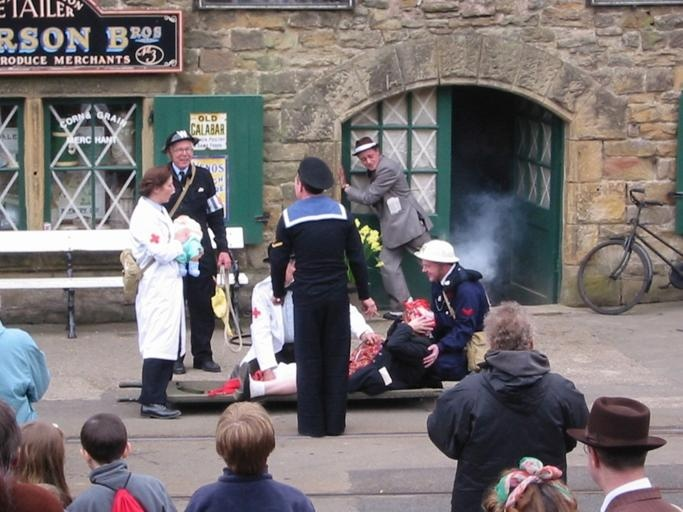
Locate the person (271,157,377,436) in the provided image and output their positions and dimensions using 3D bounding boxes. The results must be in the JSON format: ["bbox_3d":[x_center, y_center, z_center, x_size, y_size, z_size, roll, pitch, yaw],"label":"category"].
[{"bbox_3d":[-0.196,0.365,14.564,0.854,2.542,0.353,0,3,-2],"label":"person"}]

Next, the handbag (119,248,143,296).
[{"bbox_3d":[-1.966,0.220,14.978,0.145,0.378,0.376,1,31,-8],"label":"handbag"}]

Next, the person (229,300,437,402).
[{"bbox_3d":[-0.111,0.867,14.957,1.944,0.946,0.812,-1,3,-11],"label":"person"}]

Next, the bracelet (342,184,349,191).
[{"bbox_3d":[0.056,-0.762,17.574,0.065,0.031,0.076,1,-17,-3],"label":"bracelet"}]

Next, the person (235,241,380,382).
[{"bbox_3d":[-0.534,0.644,14.814,0.986,0.535,1.407,2,46,-4],"label":"person"}]

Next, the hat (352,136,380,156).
[{"bbox_3d":[0.259,-1.233,17.664,0.253,0.221,0.571,0,3,-1],"label":"hat"}]

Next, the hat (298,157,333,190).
[{"bbox_3d":[-0.235,-0.750,14.446,0.306,0.303,0.169,0,3,-2],"label":"hat"}]

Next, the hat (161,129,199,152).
[{"bbox_3d":[-1.589,-1.154,15.903,0.357,0.202,0.310,-1,3,-17],"label":"hat"}]

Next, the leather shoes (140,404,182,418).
[{"bbox_3d":[-1.678,1.446,14.906,0.391,0.189,0.140,1,-2,-5],"label":"leather shoes"}]

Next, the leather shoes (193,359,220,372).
[{"bbox_3d":[-1.342,1.103,16.103,0.254,0.095,0.118,-1,-2,36],"label":"leather shoes"}]

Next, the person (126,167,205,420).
[{"bbox_3d":[-1.673,0.325,14.964,0.640,2.349,0.451,-2,3,-27],"label":"person"}]

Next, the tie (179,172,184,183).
[{"bbox_3d":[-1.587,-0.794,15.945,0.067,0.112,0.027,1,0,-8],"label":"tie"}]
